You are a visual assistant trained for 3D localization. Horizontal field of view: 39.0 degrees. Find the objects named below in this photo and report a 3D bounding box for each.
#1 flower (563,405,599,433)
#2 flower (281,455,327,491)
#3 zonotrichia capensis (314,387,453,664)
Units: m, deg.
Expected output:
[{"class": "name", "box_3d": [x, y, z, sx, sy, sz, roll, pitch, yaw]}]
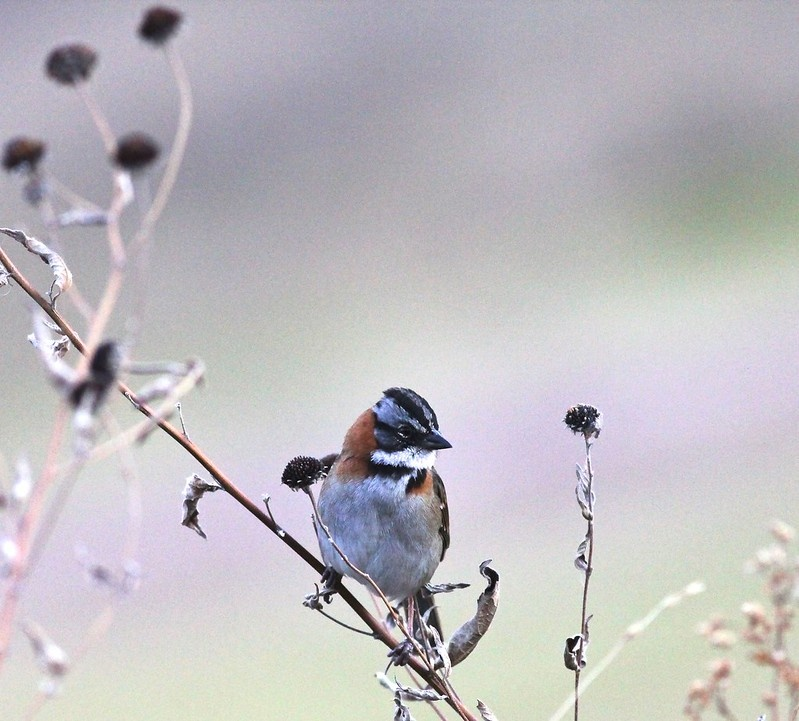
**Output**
[{"class": "flower", "box_3d": [0.684, 0.221, 4.243, 0.094, 0.111, 0.103, 2, -22, -6]}, {"class": "flower", "box_3d": [-0.353, 0.411, 4.166, 0.120, 0.150, 0.134, -14, -4, 15]}, {"class": "zonotrichia capensis", "box_3d": [-0.087, 0.599, 5.300, 0.589, 0.882, 0.466, 1, -27, -5]}]
